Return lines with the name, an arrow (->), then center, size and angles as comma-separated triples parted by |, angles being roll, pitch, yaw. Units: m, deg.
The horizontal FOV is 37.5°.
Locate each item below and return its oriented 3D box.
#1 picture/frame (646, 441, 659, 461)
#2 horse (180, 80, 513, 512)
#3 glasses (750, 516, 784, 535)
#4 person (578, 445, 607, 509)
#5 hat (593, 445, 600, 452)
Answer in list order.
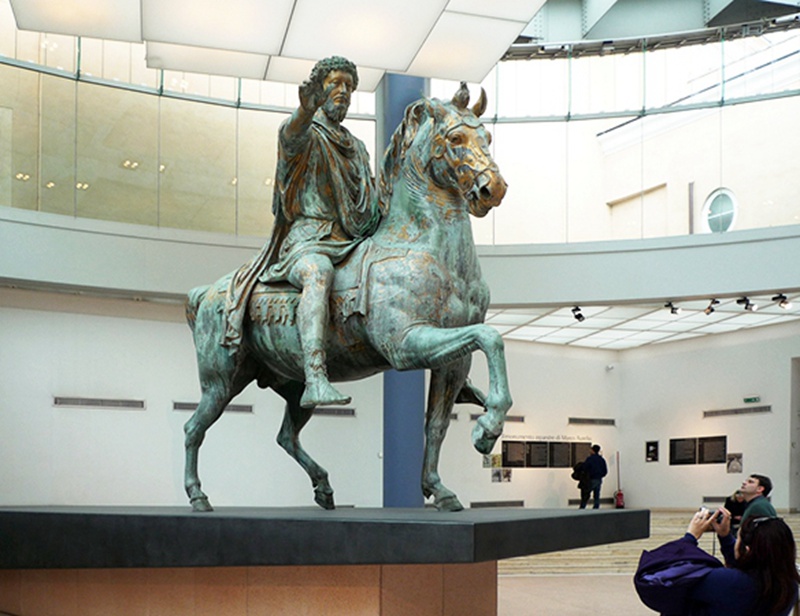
picture/frame -> 6.599, 3.729, 30.726 | 0.403, 0.673, 0.427 | -3, -9, 22
horse -> -0.373, -0.047, 12.114 | 3.147, 4.434, 1.244 | 0, 2, 13
glasses -> 3.561, 2.105, 11.299 | 0.184, 0.068, 0.219 | -1, -28, 7
person -> 4.501, 3.940, 27.562 | 0.551, 1.557, 1.118 | 0, 1, 2
hat -> 4.548, 3.283, 27.178 | 0.169, 0.225, 0.253 | 4, 5, 8
